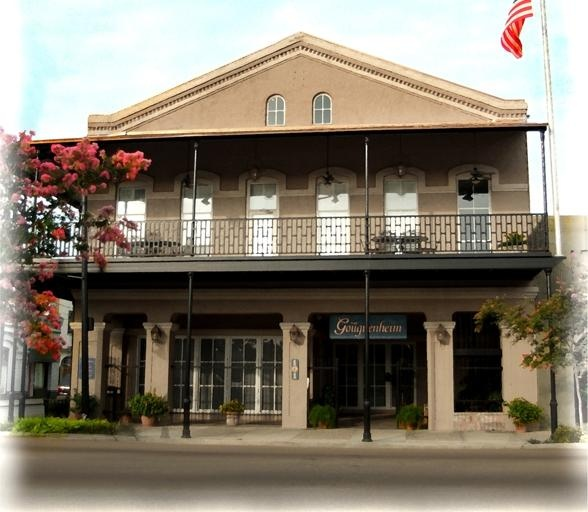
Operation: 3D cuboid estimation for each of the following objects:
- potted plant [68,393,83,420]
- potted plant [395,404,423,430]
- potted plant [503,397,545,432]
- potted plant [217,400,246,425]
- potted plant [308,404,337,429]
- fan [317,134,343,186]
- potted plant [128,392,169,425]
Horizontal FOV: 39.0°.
[{"bbox_3d":[-5.756,3.927,21.890,0.283,0.692,1.166,4,-12,-15],"label":"potted plant"},{"bbox_3d":[2.965,4.118,21.134,0.515,0.562,0.541,0,-7,6],"label":"potted plant"},{"bbox_3d":[5.633,3.869,20.320,0.888,0.831,0.686,-1,-11,6],"label":"potted plant"},{"bbox_3d":[-1.730,4.333,22.705,0.643,0.717,0.598,0,-20,0],"label":"potted plant"},{"bbox_3d":[0.754,4.141,21.319,0.535,0.533,0.564,2,-15,-5],"label":"potted plant"},{"bbox_3d":[0.993,-2.568,22.454,0.519,1.458,0.769,0,-11,2],"label":"fan"},{"bbox_3d":[-3.828,4.042,21.943,1.006,0.869,0.510,3,-11,-11],"label":"potted plant"}]
